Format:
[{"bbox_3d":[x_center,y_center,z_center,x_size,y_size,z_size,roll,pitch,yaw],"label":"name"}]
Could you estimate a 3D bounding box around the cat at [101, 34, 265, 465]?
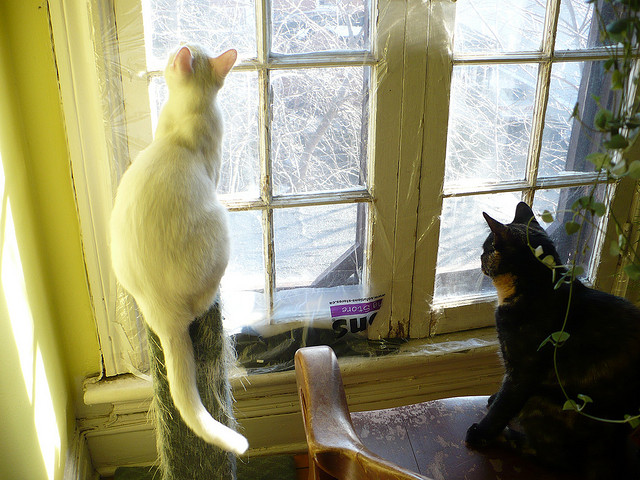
[{"bbox_3d":[-0.242,-0.035,1.128,0.285,0.881,0.359,1,-3,-9],"label":"cat"}]
